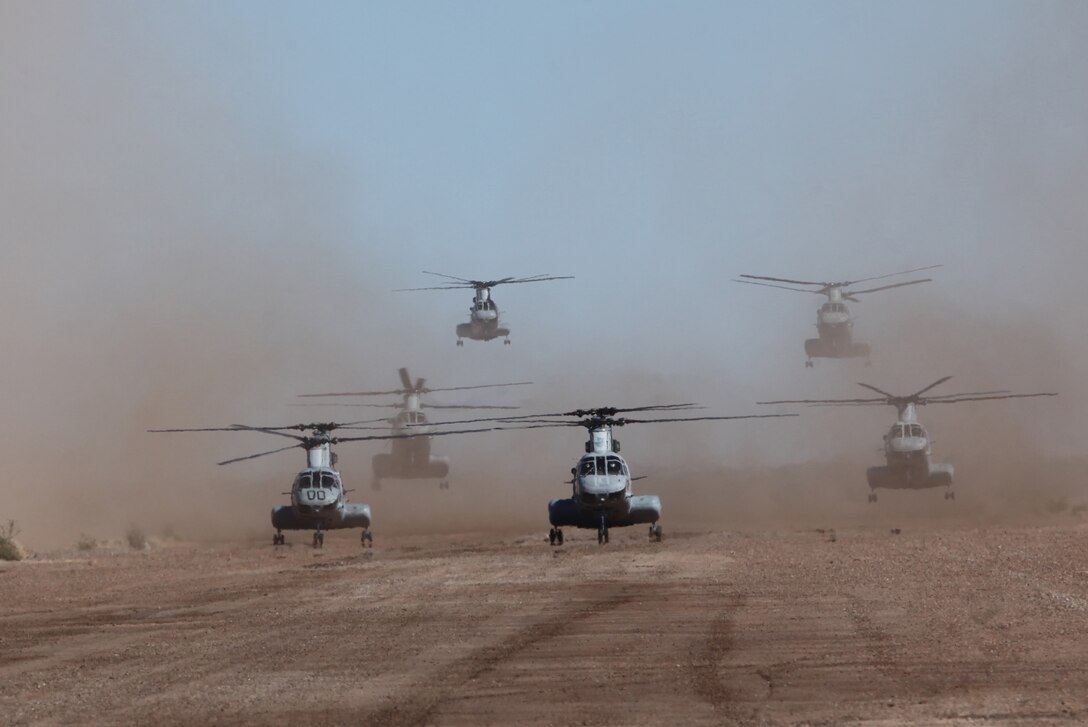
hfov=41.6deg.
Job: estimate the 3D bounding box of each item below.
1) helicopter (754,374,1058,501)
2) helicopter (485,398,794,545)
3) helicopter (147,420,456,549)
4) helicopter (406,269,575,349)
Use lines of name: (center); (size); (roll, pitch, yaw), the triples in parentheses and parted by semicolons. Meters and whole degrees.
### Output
helicopter: (13.695, 3.230, 54.116); (10.607, 4.714, 13.460); (-4, 12, 15)
helicopter: (1.466, 3.558, 47.061); (9.926, 4.717, 12.815); (1, -5, 1)
helicopter: (-7.535, 4.254, 47.482); (8.947, 4.128, 10.647); (-2, 11, -6)
helicopter: (-2.450, -1.994, 59.010); (6.850, 3.084, 8.484); (-2, 19, 0)
